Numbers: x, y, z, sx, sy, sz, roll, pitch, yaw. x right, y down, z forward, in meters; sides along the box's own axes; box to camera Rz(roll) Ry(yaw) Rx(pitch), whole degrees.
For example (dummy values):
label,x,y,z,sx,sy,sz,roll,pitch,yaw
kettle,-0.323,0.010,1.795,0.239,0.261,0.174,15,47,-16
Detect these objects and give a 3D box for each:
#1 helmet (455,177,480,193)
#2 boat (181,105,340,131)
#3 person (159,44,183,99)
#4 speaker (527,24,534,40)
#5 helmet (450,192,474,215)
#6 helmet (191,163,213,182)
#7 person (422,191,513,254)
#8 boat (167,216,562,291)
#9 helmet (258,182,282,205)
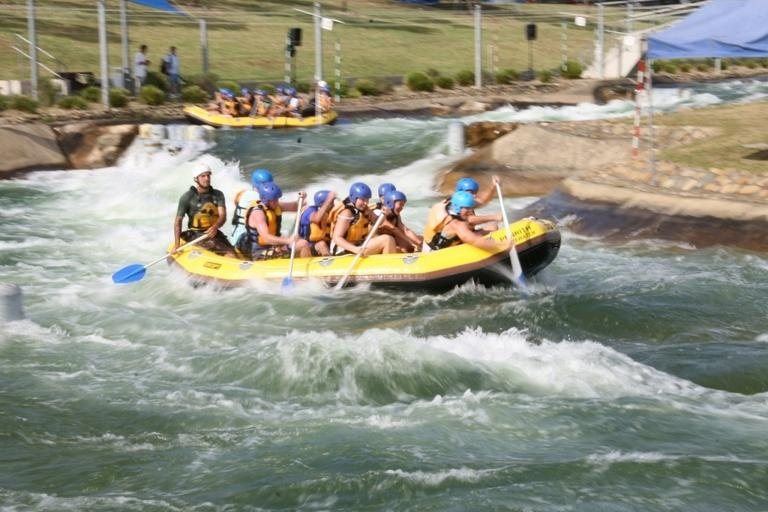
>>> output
label,x,y,z,sx,sy,sz,roll,pitch,yaw
helmet,1.409,-1.185,13.208,0.329,0.230,0.357,2,8,9
boat,-3.868,-4.252,24.669,3.903,0.314,1.356,0,2,-12
person,-8.092,-6.959,29.554,0.742,1.943,1.264,-2,12,-13
speaker,6.540,-9.948,34.760,0.372,0.634,0.843,4,9,12
helmet,1.305,-0.887,12.997,0.425,0.388,0.280,2,11,3
helmet,-3.314,-1.528,14.137,0.284,0.275,0.245,-1,10,-10
person,1.327,-0.580,13.016,1.403,1.009,0.408,6,13,30
boat,-0.479,-0.025,13.529,5.783,0.577,1.956,-1,0,10
helmet,-2.011,-1.115,13.726,0.351,0.369,0.359,-1,10,-11
